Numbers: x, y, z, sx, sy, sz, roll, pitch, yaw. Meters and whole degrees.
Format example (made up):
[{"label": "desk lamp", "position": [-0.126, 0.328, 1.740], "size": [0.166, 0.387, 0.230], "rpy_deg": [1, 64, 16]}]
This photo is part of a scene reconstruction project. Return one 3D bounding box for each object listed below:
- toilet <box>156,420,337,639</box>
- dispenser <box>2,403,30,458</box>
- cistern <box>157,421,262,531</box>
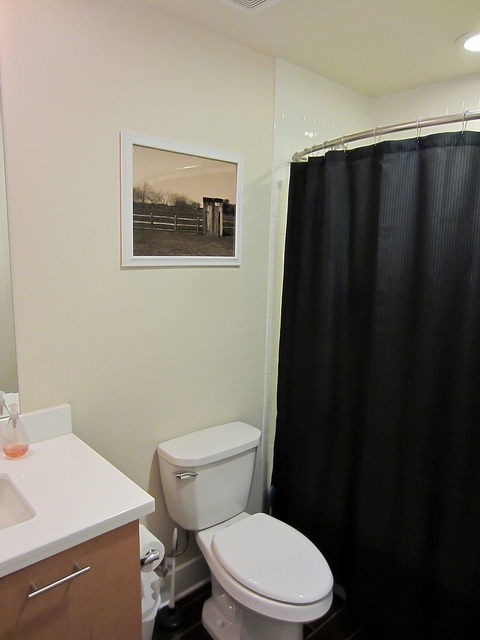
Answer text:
[{"label": "toilet", "position": [0.013, 0.779, 1.836], "size": [0.404, 0.925, 0.668], "rpy_deg": [-8, 13, -36]}, {"label": "dispenser", "position": [-0.631, 0.319, 1.416], "size": [0.068, 0.141, 0.051], "rpy_deg": [7, 4, -17]}, {"label": "cistern", "position": [-0.108, 0.440, 1.863], "size": [0.422, 0.393, 0.252], "rpy_deg": [-10, 13, -40]}]
